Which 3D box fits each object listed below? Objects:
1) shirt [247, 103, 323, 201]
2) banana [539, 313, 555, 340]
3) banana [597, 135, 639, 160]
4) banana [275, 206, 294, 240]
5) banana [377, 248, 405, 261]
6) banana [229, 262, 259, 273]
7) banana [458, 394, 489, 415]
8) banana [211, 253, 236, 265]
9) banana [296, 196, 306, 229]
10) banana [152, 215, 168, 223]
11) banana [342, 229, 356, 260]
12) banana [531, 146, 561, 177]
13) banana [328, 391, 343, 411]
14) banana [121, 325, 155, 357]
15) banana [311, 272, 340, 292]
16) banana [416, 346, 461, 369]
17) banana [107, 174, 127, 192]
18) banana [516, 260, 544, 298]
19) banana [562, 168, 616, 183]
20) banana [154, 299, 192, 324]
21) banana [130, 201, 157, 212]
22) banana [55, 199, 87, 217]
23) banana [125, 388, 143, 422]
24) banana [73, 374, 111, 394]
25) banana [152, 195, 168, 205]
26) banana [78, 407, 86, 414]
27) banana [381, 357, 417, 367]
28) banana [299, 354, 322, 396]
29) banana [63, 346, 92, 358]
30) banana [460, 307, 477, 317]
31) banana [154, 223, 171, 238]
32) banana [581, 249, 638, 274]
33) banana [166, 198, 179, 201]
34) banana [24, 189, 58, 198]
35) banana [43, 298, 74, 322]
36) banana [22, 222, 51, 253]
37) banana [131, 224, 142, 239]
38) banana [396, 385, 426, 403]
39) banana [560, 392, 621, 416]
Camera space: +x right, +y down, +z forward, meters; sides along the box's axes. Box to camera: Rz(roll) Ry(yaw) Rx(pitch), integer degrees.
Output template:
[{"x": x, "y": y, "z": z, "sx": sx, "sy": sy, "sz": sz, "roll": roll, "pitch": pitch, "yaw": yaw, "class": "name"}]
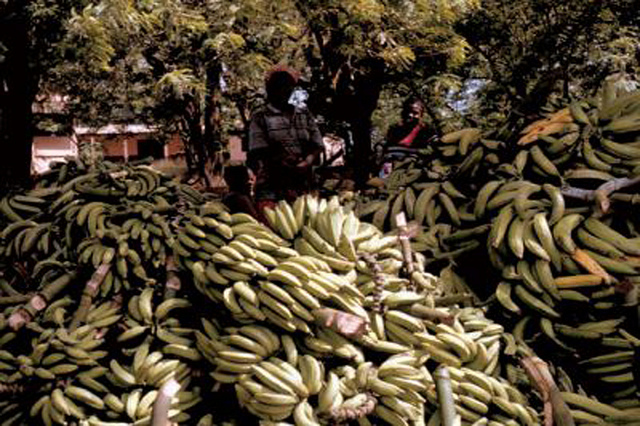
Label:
[{"x": -0.367, "y": -0.642, "z": 6.710, "sx": 0.840, "sy": 1.015, "sz": 0.507, "roll": -5, "pitch": -1, "yaw": -24, "class": "shirt"}, {"x": 1.351, "y": 0.682, "z": 3.763, "sx": 0.077, "sy": 0.123, "sz": 0.030, "roll": -12, "pitch": -6, "yaw": 10, "class": "banana"}, {"x": 1.851, "y": -0.390, "z": 3.968, "sx": 0.298, "sy": 0.081, "sz": 0.101, "roll": 26, "pitch": 46, "yaw": 25, "class": "banana"}, {"x": -0.220, "y": 0.075, "z": 3.758, "sx": 0.069, "sy": 0.210, "sz": 0.073, "roll": -26, "pitch": 7, "yaw": 26, "class": "banana"}, {"x": 0.425, "y": 0.256, "z": 3.857, "sx": 0.167, "sy": 0.081, "sz": 0.046, "roll": -3, "pitch": 5, "yaw": -16, "class": "banana"}, {"x": -0.436, "y": 0.301, "z": 3.552, "sx": 0.149, "sy": 0.048, "sz": 0.049, "roll": 10, "pitch": 27, "yaw": 3, "class": "banana"}, {"x": 0.866, "y": 1.076, "z": 3.609, "sx": 0.195, "sy": 0.067, "sz": 0.064, "roll": 33, "pitch": 23, "yaw": 0, "class": "banana"}, {"x": -0.554, "y": 0.265, "z": 3.585, "sx": 0.147, "sy": 0.053, "sz": 0.049, "roll": 12, "pitch": 32, "yaw": 15, "class": "banana"}, {"x": -0.116, "y": 0.005, "z": 3.710, "sx": 0.054, "sy": 0.176, "sz": 0.060, "roll": 11, "pitch": 3, "yaw": 28, "class": "banana"}, {"x": -0.968, "y": 0.039, "z": 3.823, "sx": 0.100, "sy": 0.041, "sz": 0.054, "roll": -4, "pitch": 5, "yaw": -31, "class": "banana"}, {"x": 0.163, "y": 0.195, "z": 3.709, "sx": 0.042, "sy": 0.175, "sz": 0.046, "roll": -27, "pitch": -3, "yaw": -36, "class": "banana"}, {"x": 1.415, "y": -0.318, "z": 4.004, "sx": 0.080, "sy": 0.255, "sz": 0.060, "roll": -36, "pitch": -31, "yaw": 4, "class": "banana"}, {"x": 0.083, "y": 1.008, "z": 3.391, "sx": 0.040, "sy": 0.083, "sz": 0.103, "roll": 2, "pitch": 5, "yaw": 37, "class": "banana"}, {"x": -1.045, "y": 0.732, "z": 3.622, "sx": 0.243, "sy": 0.056, "sz": 0.082, "roll": -31, "pitch": 13, "yaw": -26, "class": "banana"}, {"x": 0.028, "y": 0.391, "z": 3.507, "sx": 0.204, "sy": 0.061, "sz": 0.063, "roll": 27, "pitch": -25, "yaw": 11, "class": "banana"}, {"x": 0.672, "y": 0.814, "z": 3.578, "sx": 0.279, "sy": 0.072, "sz": 0.055, "roll": 16, "pitch": 11, "yaw": 10, "class": "banana"}, {"x": -1.257, "y": -0.170, "z": 3.906, "sx": 0.130, "sy": 0.074, "sz": 0.030, "roll": 25, "pitch": 8, "yaw": 6, "class": "banana"}, {"x": 1.240, "y": 0.371, "z": 3.817, "sx": 0.088, "sy": 0.292, "sz": 0.101, "roll": -46, "pitch": 22, "yaw": -25, "class": "banana"}, {"x": 1.655, "y": -0.223, "z": 3.980, "sx": 0.364, "sy": 0.095, "sz": 0.099, "roll": -5, "pitch": -6, "yaw": 19, "class": "banana"}, {"x": -0.856, "y": 0.563, "z": 3.665, "sx": 0.215, "sy": 0.128, "sz": 0.036, "roll": -3, "pitch": 5, "yaw": -18, "class": "banana"}, {"x": -1.064, "y": -0.042, "z": 3.843, "sx": 0.106, "sy": 0.027, "sz": 0.070, "roll": 23, "pitch": 45, "yaw": 6, "class": "banana"}, {"x": -1.528, "y": -0.028, "z": 3.868, "sx": 0.183, "sy": 0.099, "sz": 0.069, "roll": -3, "pitch": 5, "yaw": -23, "class": "banana"}, {"x": -1.049, "y": 1.057, "z": 3.530, "sx": 0.083, "sy": 0.138, "sz": 0.033, "roll": 8, "pitch": -20, "yaw": -14, "class": "banana"}, {"x": -1.307, "y": 0.968, "z": 3.573, "sx": 0.156, "sy": 0.032, "sz": 0.041, "roll": 33, "pitch": -8, "yaw": -12, "class": "banana"}, {"x": -0.989, "y": -0.078, "z": 3.892, "sx": 0.118, "sy": 0.058, "sz": 0.045, "roll": 1, "pitch": 5, "yaw": 37, "class": "banana"}, {"x": -1.341, "y": 1.104, "z": 3.549, "sx": 0.035, "sy": 0.038, "sz": 0.011, "roll": -4, "pitch": 5, "yaw": -30, "class": "banana"}, {"x": 0.434, "y": 0.813, "z": 3.504, "sx": 0.195, "sy": 0.062, "sz": 0.057, "roll": -6, "pitch": 18, "yaw": -10, "class": "banana"}, {"x": -0.056, "y": 0.880, "z": 3.432, "sx": 0.117, "sy": 0.203, "sz": 0.057, "roll": -12, "pitch": -17, "yaw": -3, "class": "banana"}, {"x": -1.373, "y": 0.783, "z": 3.546, "sx": 0.164, "sy": 0.048, "sz": 0.043, "roll": 16, "pitch": -19, "yaw": -6, "class": "banana"}, {"x": 0.893, "y": 0.601, "z": 3.837, "sx": 0.109, "sy": 0.042, "sz": 0.049, "roll": -3, "pitch": 5, "yaw": -26, "class": "banana"}, {"x": -0.939, "y": 0.102, "z": 3.781, "sx": 0.041, "sy": 0.136, "sz": 0.042, "roll": -38, "pitch": -16, "yaw": -13, "class": "banana"}, {"x": 1.720, "y": 0.294, "z": 3.740, "sx": 0.276, "sy": 0.065, "sz": 0.058, "roll": 15, "pitch": -17, "yaw": 13, "class": "banana"}, {"x": -0.941, "y": -0.083, "z": 3.998, "sx": 0.091, "sy": 0.012, "sz": 0.021, "roll": -2, "pitch": 11, "yaw": -12, "class": "banana"}, {"x": -1.764, "y": -0.118, "z": 3.966, "sx": 0.203, "sy": 0.050, "sz": 0.062, "roll": -1, "pitch": 4, "yaw": 14, "class": "banana"}, {"x": -1.526, "y": 0.560, "z": 3.649, "sx": 0.031, "sy": 0.150, "sz": 0.041, "roll": 29, "pitch": -24, "yaw": 33, "class": "banana"}, {"x": -1.721, "y": 0.143, "z": 3.847, "sx": 0.236, "sy": 0.072, "sz": 0.064, "roll": -46, "pitch": 8, "yaw": -28, "class": "banana"}, {"x": -1.099, "y": 0.109, "z": 3.762, "sx": 0.040, "sy": 0.075, "sz": 0.071, "roll": 0, "pitch": 4, "yaw": 17, "class": "banana"}, {"x": 0.486, "y": 0.986, "z": 3.452, "sx": 0.146, "sy": 0.051, "sz": 0.033, "roll": 25, "pitch": 48, "yaw": 9, "class": "banana"}, {"x": 1.550, "y": 1.096, "z": 3.630, "sx": 0.323, "sy": 0.133, "sz": 0.030, "roll": -1, "pitch": 5, "yaw": 5, "class": "banana"}]
